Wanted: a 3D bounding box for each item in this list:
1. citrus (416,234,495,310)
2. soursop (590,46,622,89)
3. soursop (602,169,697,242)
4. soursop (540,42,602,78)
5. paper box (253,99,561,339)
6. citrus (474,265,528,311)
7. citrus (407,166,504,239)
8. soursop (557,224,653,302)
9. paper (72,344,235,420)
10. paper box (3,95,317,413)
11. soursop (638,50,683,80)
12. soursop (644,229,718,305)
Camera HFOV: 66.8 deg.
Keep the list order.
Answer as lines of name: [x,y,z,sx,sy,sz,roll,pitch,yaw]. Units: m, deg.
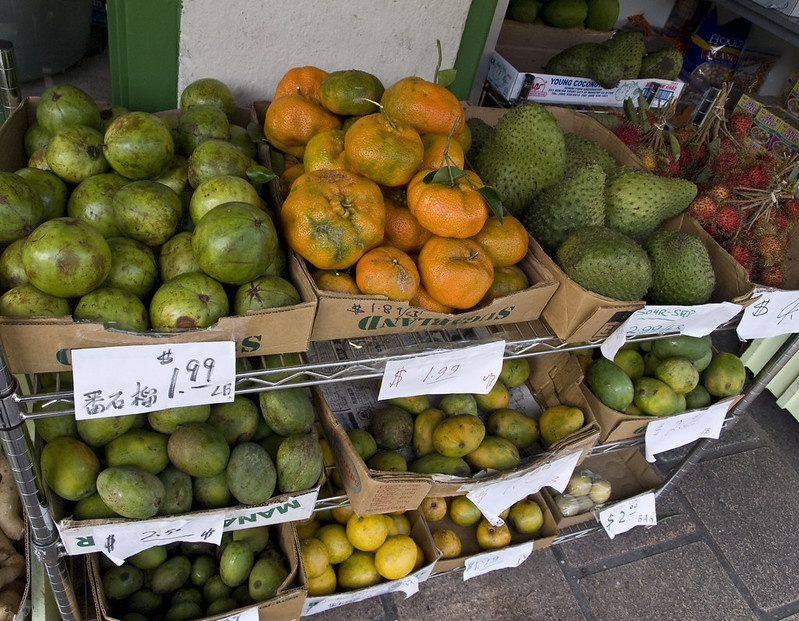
citrus: [0.159,-0.103,1.916,0.209,0.166,0.224,-15,77,-32]
soursop: [1.054,-1.244,3.100,0.145,0.165,0.191,6,13,2]
soursop: [0.943,-0.384,2.383,0.311,0.244,0.265,-12,88,-3]
soursop: [0.929,-1.328,3.318,0.311,0.169,0.186,3,85,29]
paper box: [0.153,-0.221,1.734,0.632,0.180,0.626,-4,51,-19]
citrus: [0.340,-0.080,2.047,0.136,0.150,0.149,-12,62,-3]
citrus: [0.183,-0.314,1.888,0.239,0.150,0.241,17,29,-32]
soursop: [0.681,-0.141,2.087,0.285,0.222,0.228,29,90,23]
paper: [-0.652,0.178,1.591,0.255,0.154,0.014,-5,35,-13]
paper box: [-0.796,-0.337,1.928,0.860,0.299,1.210,-6,56,-20]
soursop: [1.454,-1.368,3.394,0.166,0.144,0.230,28,47,36]
soursop: [0.997,-0.163,2.271,0.240,0.301,0.256,-6,8,15]
